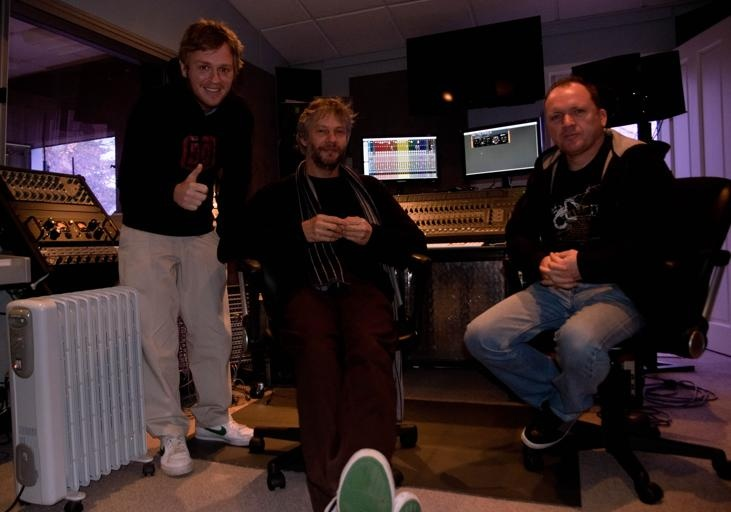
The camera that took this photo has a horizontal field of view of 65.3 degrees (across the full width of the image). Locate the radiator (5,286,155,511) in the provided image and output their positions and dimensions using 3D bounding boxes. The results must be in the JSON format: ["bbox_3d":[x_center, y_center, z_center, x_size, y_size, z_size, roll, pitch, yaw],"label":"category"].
[{"bbox_3d":[-1.465,0.722,2.920,0.664,1.030,0.453,-7,14,-22],"label":"radiator"}]

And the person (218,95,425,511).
[{"bbox_3d":[-0.128,0.139,2.985,1.009,1.922,1.229,-7,14,-21],"label":"person"}]

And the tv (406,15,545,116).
[{"bbox_3d":[0.988,-1.753,5.212,1.515,0.827,0.151,-2,3,22],"label":"tv"}]

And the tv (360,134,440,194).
[{"bbox_3d":[0.276,-0.759,4.634,0.716,0.448,0.195,0,-2,1],"label":"tv"}]

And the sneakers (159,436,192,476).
[{"bbox_3d":[-1.036,1.088,3.109,0.168,0.187,0.139,-4,13,-11],"label":"sneakers"}]

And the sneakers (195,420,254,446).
[{"bbox_3d":[-0.808,1.033,3.385,0.387,0.153,0.147,0,-6,3],"label":"sneakers"}]
